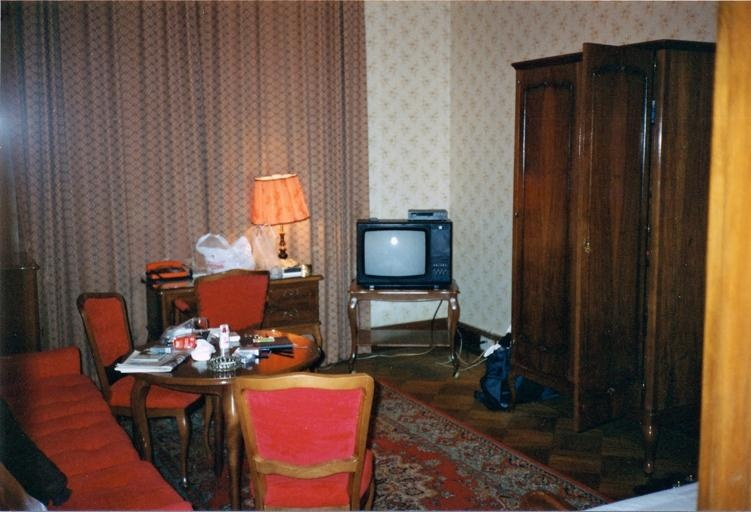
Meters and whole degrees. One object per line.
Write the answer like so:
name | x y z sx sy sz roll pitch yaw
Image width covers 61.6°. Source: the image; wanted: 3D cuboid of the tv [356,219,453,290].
tv | 0.223 -0.007 5.038 0.956 0.569 0.535 0 0 4

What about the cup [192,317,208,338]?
cup | -1.045 0.417 3.758 0.084 0.094 0.270 -6 7 -16

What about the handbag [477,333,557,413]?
handbag | 0.906 0.809 4.613 0.532 0.620 0.619 -1 7 -10

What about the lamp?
lamp | -0.772 -0.298 4.914 0.407 0.670 0.472 -6 9 -17

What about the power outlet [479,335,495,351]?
power outlet | 0.971 0.756 5.472 0.038 0.112 0.136 5 2 -41
